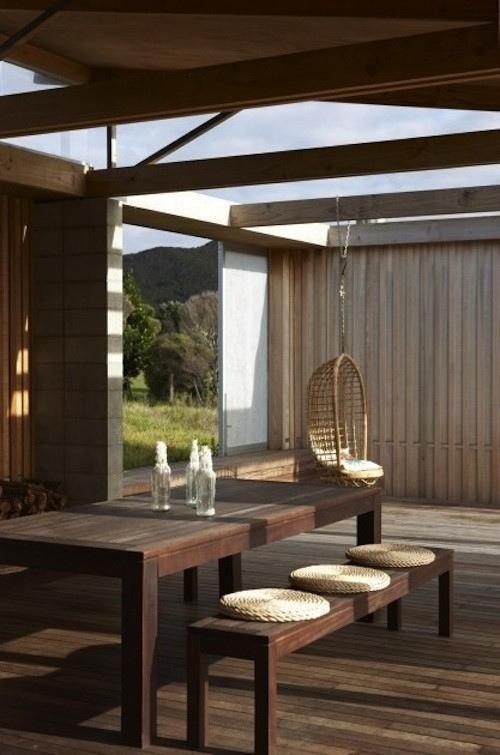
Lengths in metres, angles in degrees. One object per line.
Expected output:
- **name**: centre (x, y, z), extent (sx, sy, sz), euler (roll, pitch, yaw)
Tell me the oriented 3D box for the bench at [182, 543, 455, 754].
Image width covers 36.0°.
- **bench**: centre (0.361, 0.921, 2.846), extent (0.324, 0.415, 1.734), euler (0, -2, 32)
